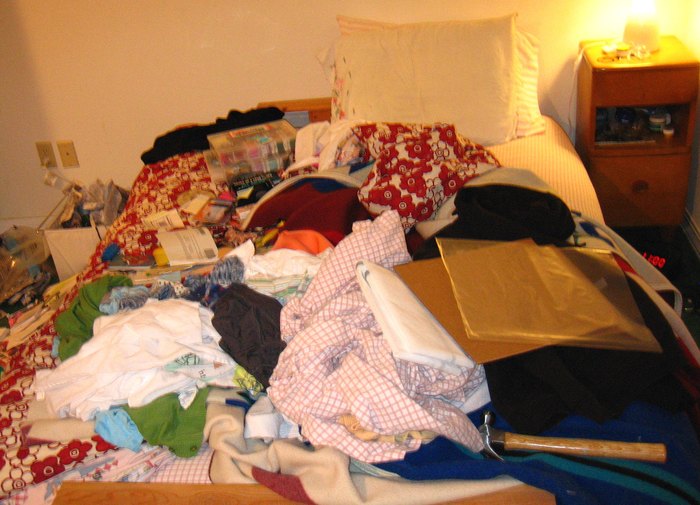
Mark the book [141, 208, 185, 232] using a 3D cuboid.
[{"bbox_3d":[-0.730,-0.121,2.035,0.106,0.036,0.107,-4,33,1],"label":"book"}]

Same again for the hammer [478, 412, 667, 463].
[{"bbox_3d":[0.470,0.413,1.108,0.388,0.053,0.129,3,21,8],"label":"hammer"}]

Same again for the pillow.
[{"bbox_3d":[0.336,-0.743,2.215,0.974,0.584,0.619,1,34,3],"label":"pillow"}]
